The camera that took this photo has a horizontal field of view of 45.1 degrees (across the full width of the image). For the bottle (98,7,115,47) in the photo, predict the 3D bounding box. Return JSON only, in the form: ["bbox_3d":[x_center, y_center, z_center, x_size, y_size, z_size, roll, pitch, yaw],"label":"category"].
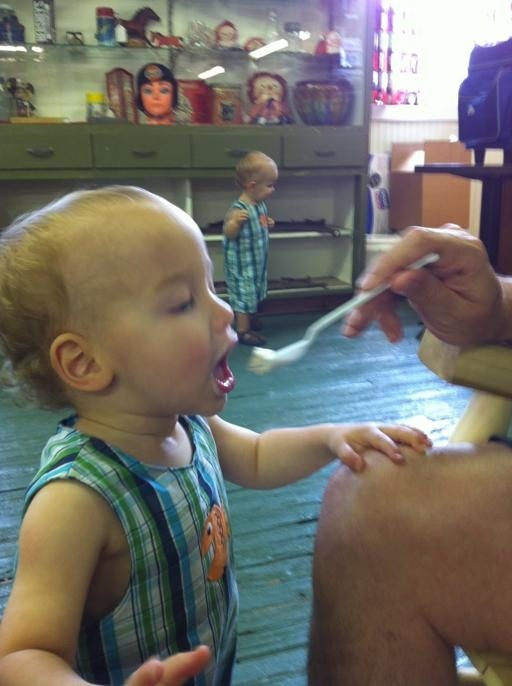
[{"bbox_3d":[-0.688,-1.484,2.889,0.077,0.156,0.126,18,34,20],"label":"bottle"}]
